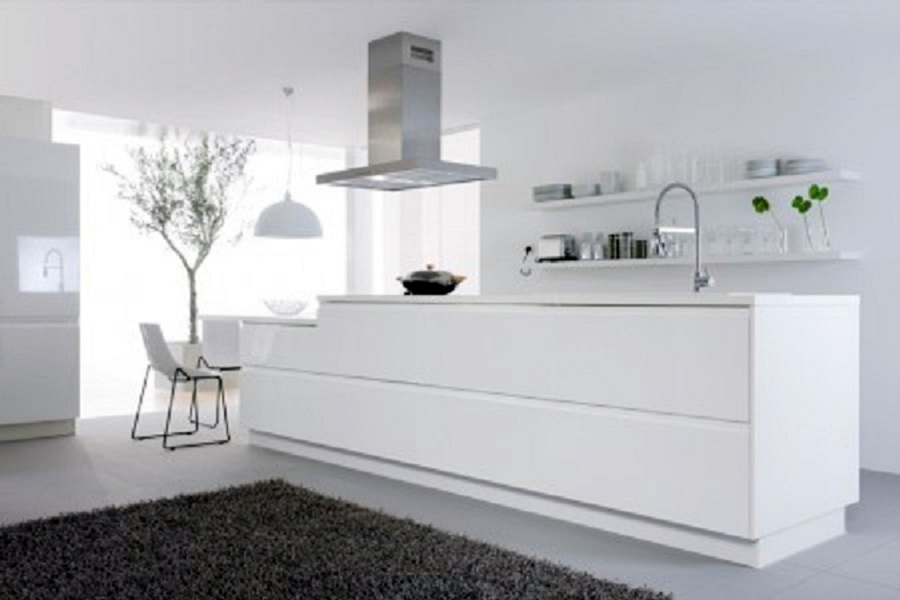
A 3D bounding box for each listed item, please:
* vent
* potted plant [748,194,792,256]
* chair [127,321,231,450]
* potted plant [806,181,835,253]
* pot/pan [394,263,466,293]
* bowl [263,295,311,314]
[{"bbox_3d":[-0.433,-1.688,5.511,1.382,1.203,1.095,3,8,38],"label":"vent"},{"bbox_3d":[2.678,-0.636,5.166,0.269,0.481,0.302,1,3,26],"label":"potted plant"},{"bbox_3d":[-2.441,0.782,5.848,0.856,1.039,0.852,0,-1,15],"label":"chair"},{"bbox_3d":[2.918,-0.659,4.899,0.157,0.535,0.309,2,3,30],"label":"potted plant"},{"bbox_3d":[-0.133,-0.154,4.640,0.415,0.202,0.221,0,2,-21],"label":"pot/pan"},{"bbox_3d":[-1.513,0.056,5.778,0.288,0.093,0.283,0,-2,0],"label":"bowl"}]
